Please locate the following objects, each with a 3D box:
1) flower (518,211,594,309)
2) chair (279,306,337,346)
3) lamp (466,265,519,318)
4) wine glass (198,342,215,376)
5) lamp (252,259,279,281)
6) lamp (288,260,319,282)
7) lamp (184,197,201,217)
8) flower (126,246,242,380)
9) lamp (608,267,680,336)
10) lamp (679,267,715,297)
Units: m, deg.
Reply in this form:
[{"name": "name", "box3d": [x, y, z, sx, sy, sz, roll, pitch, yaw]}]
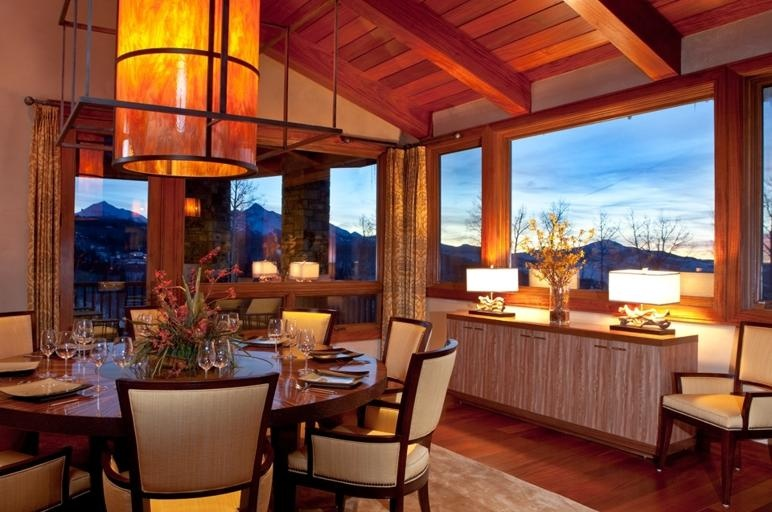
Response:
[{"name": "flower", "box3d": [1.831, 0.136, 5.876, 0.636, 0.840, 0.552, -10, -15, 39]}, {"name": "chair", "box3d": [-0.788, 0.632, 4.994, 0.349, 0.448, 0.407, -4, -13, 25]}, {"name": "lamp", "box3d": [1.203, 0.386, 6.176, 0.628, 0.557, 0.201, 0, 2, 34]}, {"name": "wine glass", "box3d": [-1.092, 0.601, 3.333, 0.088, 0.179, 0.074, 4, 8, 36]}, {"name": "lamp", "box3d": [-1.484, 0.177, 6.788, 0.262, 0.182, 0.256, 0, -1, 19]}, {"name": "lamp", "box3d": [-1.051, 0.185, 7.016, 0.295, 0.202, 0.279, 0, 1, 4]}, {"name": "lamp", "box3d": [-2.260, -0.571, 6.410, 0.260, 0.245, 0.143, -2, -1, -39]}, {"name": "flower", "box3d": [-1.356, 0.479, 3.953, 0.584, 0.789, 0.633, -1, -12, -21]}, {"name": "lamp", "box3d": [2.338, 0.411, 4.989, 0.383, 0.643, 0.654, -1, 1, -34]}, {"name": "lamp", "box3d": [2.863, 0.257, 5.124, 0.284, 0.233, 0.122, 4, 8, 41]}]
